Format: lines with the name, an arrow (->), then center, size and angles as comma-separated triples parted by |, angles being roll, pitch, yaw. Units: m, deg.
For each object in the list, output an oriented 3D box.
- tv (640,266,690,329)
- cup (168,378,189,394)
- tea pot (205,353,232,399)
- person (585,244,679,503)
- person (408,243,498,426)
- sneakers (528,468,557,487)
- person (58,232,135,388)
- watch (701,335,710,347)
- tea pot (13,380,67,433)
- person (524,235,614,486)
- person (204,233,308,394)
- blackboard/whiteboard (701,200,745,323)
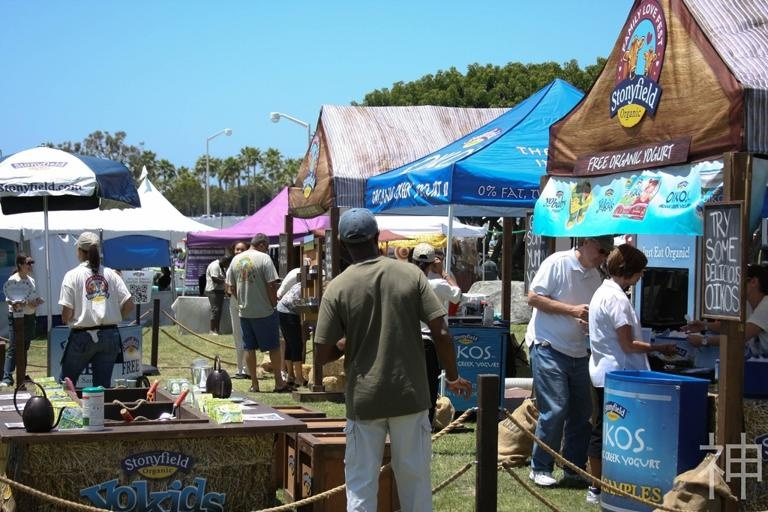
tv -> 3.428, 0.528, 11.587 | 0.626, 1.009, 0.665 | 1, -5, -5
cup -> -2.138, 1.367, 9.921 | 0.174, 0.148, 0.185 | 1, 0, 0
tea pot -> -1.650, 1.224, 9.494 | 0.256, 0.433, 0.424 | -2, 1, -12
person -> 2.437, 1.189, 9.671 | 0.767, 2.600, 0.898 | -1, 6, -15
person -> 0.700, 0.933, 11.350 | 0.844, 2.002, 1.157 | 7, -5, -40
sneakers -> 1.645, 2.340, 9.918 | 0.114, 0.132, 0.283 | 2, -3, -27
person -> -3.414, 0.675, 11.278 | 0.614, 1.937, 0.801 | 0, 0, -12
watch -> 3.399, 0.903, 10.055 | 0.056, 0.101, 0.097 | 1, -30, 17
tea pot -> -3.086, 1.359, 8.482 | 0.435, 0.453, 0.288 | 3, -3, -9
person -> 1.948, 1.058, 9.927 | 0.901, 2.692, 1.002 | 5, -3, -19
person -> -1.884, 0.881, 14.179 | 0.885, 2.294, 0.750 | -2, 0, -8
blackboard/whiteboard -> 3.023, 0.053, 8.490 | 0.042, 1.050, 0.408 | -1, 2, -35
